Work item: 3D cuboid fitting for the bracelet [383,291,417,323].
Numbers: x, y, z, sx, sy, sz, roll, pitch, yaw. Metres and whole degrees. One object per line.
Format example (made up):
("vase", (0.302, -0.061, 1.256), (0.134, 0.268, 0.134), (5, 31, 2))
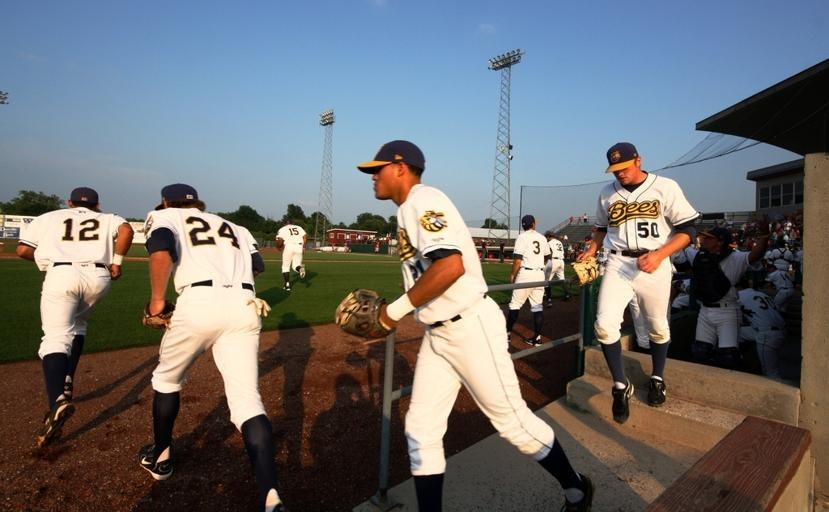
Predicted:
("bracelet", (-0.106, 0.454, 4.390), (0.133, 0.184, 0.285), (-47, 9, -32))

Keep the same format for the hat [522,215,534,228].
("hat", (2.301, -0.700, 10.140), (0.296, 0.227, 0.481), (-6, 5, 26))

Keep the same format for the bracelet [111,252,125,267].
("bracelet", (-3.946, 0.046, 6.683), (0.164, 0.162, 0.154), (0, -2, 2))

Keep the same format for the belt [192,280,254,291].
("belt", (-1.905, 0.295, 5.012), (0.574, 0.121, 0.125), (0, 7, -27))

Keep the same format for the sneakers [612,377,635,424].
("sneakers", (2.336, 1.638, 5.654), (0.193, 0.536, 0.237), (0, -9, 44))

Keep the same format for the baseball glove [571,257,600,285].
("baseball glove", (2.124, 0.185, 6.312), (0.397, 0.369, 0.128), (-10, 13, -10))

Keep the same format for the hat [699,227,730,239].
("hat", (4.290, -0.323, 7.178), (0.277, 0.137, 0.184), (20, 14, 19))
